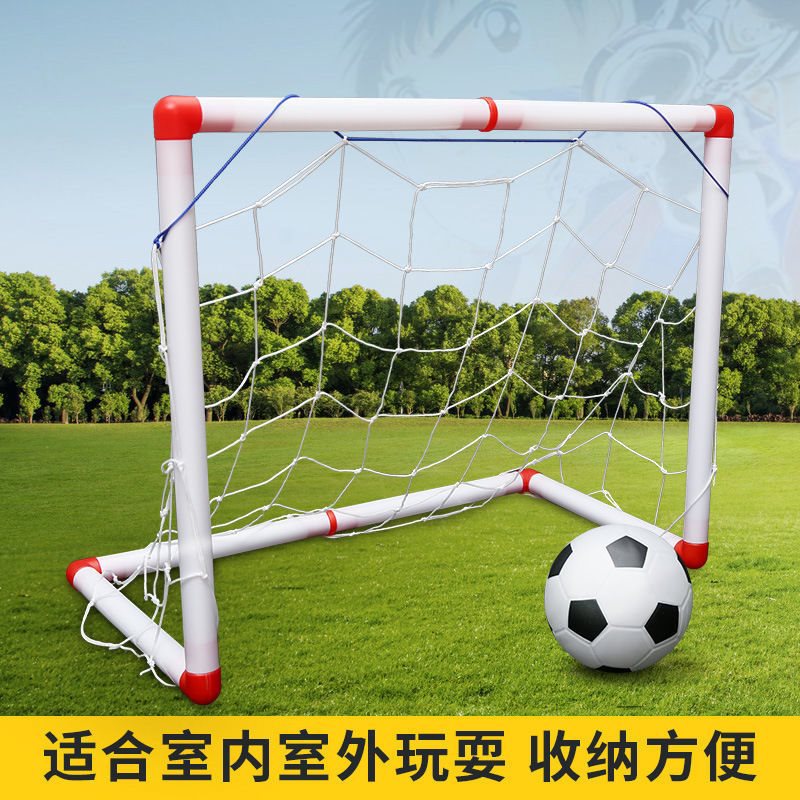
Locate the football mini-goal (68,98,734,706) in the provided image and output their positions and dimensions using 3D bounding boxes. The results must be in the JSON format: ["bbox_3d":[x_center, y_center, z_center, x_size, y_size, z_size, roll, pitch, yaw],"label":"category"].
[{"bbox_3d":[0.148,-0.219,3.339,2.261,1.855,1.293,-4,10,-19],"label":"football mini-goal"}]

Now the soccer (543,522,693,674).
[{"bbox_3d":[0.819,0.692,2.826,0.468,0.583,0.481,10,26,27],"label":"soccer"}]
